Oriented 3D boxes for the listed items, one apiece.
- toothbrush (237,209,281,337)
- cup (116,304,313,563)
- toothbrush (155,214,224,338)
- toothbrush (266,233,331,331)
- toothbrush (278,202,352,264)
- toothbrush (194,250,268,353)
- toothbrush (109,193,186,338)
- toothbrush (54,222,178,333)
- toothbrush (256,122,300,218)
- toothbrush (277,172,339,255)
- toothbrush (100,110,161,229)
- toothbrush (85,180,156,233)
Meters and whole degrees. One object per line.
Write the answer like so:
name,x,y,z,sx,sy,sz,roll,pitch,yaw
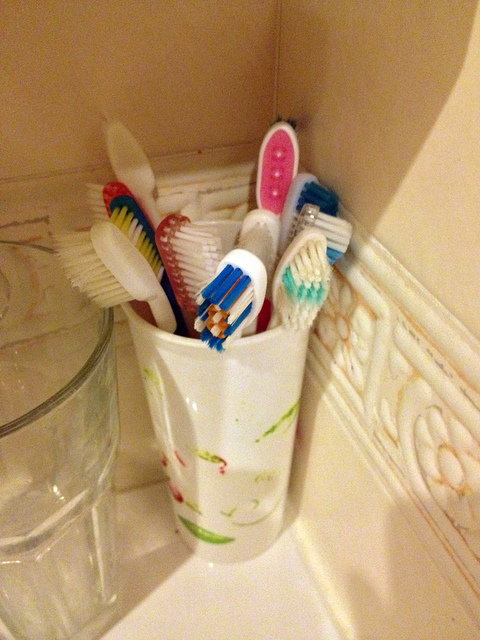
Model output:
toothbrush,0.019,-0.042,0.440,0.025,0.030,0.110,-6,62,18
cup,-0.015,0.129,0.631,0.175,0.271,0.173,-2,18,1
toothbrush,-0.043,-0.037,0.453,0.041,0.123,0.030,17,51,15
toothbrush,0.046,-0.026,0.445,0.036,0.076,0.030,6,39,-8
toothbrush,0.055,-0.075,0.436,0.051,0.054,0.017,13,9,-6
toothbrush,-0.007,-0.012,0.387,0.042,0.073,0.031,-31,55,-30
toothbrush,-0.070,-0.039,0.498,0.039,0.165,0.013,-33,26,-25
toothbrush,-0.095,-0.032,0.443,0.054,0.095,0.030,-28,32,23
toothbrush,0.034,-0.128,0.470,0.035,0.074,0.011,14,27,23
toothbrush,0.052,-0.090,0.461,0.059,0.059,0.014,11,10,-27
toothbrush,-0.095,-0.124,0.486,0.027,0.118,0.009,-24,52,-5
toothbrush,-0.101,-0.099,0.478,0.052,0.053,0.006,-32,12,10
